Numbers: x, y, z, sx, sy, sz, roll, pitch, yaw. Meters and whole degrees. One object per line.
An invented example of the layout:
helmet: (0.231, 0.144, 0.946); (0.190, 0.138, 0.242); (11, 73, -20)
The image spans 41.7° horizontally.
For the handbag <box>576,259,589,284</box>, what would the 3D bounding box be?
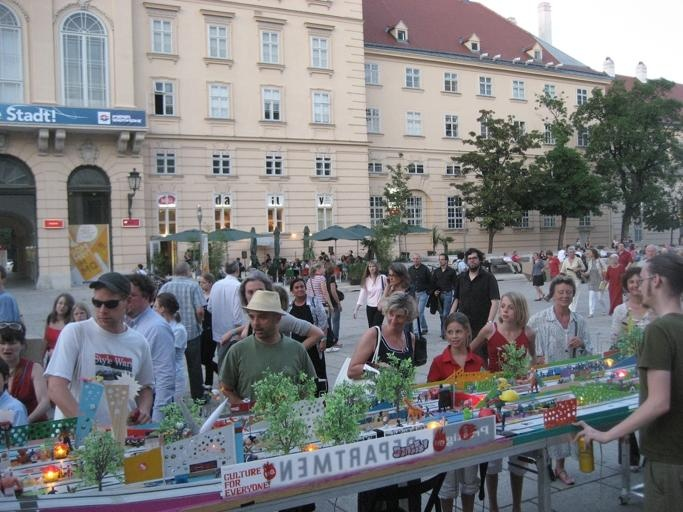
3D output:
handbag: (6.629, 0.393, 24.578); (0.223, 0.693, 0.483); (7, 32, 16)

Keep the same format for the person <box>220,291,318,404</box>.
person: (-0.939, 1.340, 11.638); (1.229, 1.741, 0.833); (-2, 2, -10)

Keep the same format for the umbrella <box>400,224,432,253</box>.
umbrella: (3.078, -0.947, 38.268); (0.698, 1.027, 2.385); (-4, -1, 37)

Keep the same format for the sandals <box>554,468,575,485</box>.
sandals: (3.163, 3.120, 12.629); (0.111, 0.132, 0.322); (-1, 0, -18)

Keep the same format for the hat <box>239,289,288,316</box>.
hat: (-1.031, 0.612, 11.913); (0.409, 0.194, 0.482); (7, 2, -4)

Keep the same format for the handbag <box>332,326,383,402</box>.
handbag: (0.253, 1.452, 11.168); (0.451, 0.795, 0.696); (13, -10, 0)

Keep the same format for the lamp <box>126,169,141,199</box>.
lamp: (-8.299, -3.004, 35.952); (0.556, 1.131, 1.199); (-1, 1, -14)
